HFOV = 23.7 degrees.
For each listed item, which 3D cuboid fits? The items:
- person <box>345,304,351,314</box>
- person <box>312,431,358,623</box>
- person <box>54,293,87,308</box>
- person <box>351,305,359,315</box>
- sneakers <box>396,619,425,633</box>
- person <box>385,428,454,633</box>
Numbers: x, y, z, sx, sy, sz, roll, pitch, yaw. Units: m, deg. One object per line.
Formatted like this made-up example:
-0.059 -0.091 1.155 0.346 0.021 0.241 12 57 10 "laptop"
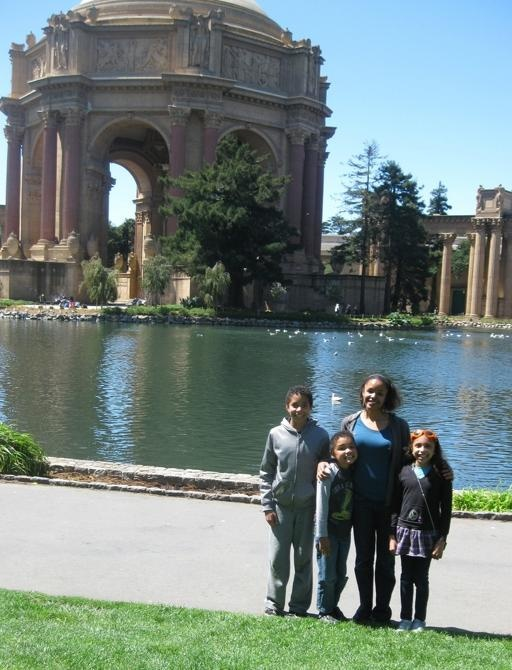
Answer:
4.779 -1.365 64.207 0.335 0.458 1.284 4 3 6 "person"
0.548 1.383 8.897 0.282 1.310 0.568 4 3 5 "person"
-8.878 -1.599 57.509 1.115 0.624 0.645 9 -31 -5 "person"
5.183 -1.306 64.807 0.362 0.412 0.786 4 3 15 "person"
1.067 2.031 8.482 0.195 0.063 0.178 4 3 15 "sneakers"
1.171 1.372 8.734 0.405 1.362 0.692 4 3 2 "person"
